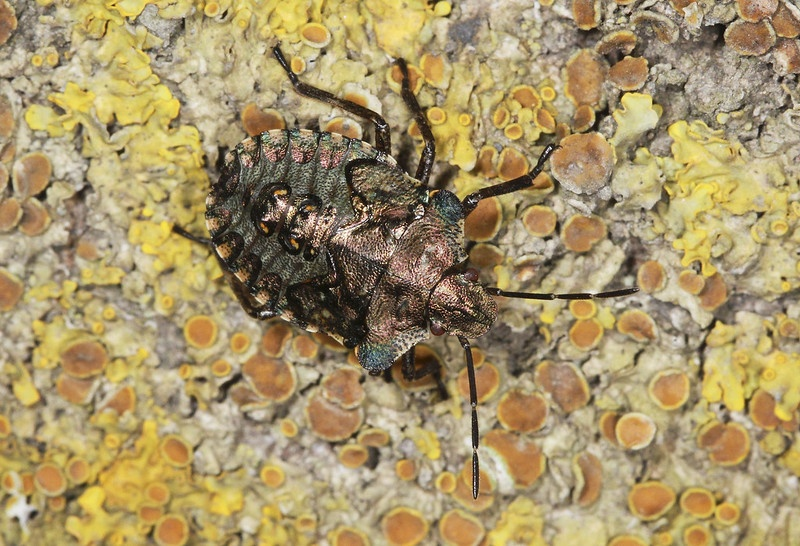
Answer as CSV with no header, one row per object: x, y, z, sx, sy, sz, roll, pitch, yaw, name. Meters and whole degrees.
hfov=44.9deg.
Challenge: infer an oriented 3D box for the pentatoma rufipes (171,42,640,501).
-0.074,-0.053,6.505,2.792,0.788,2.369,25,99,5,pentatoma rufipes
